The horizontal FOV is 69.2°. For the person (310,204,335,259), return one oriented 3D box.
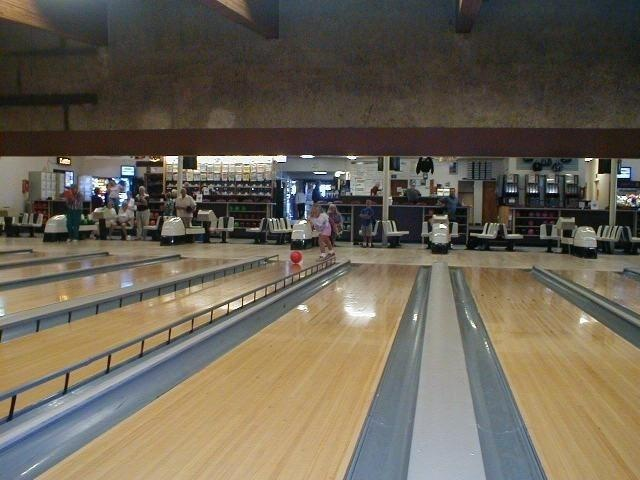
[{"bbox_3d":[0.041,-0.129,7.818,0.400,0.916,1.303,2,-4,0],"label":"person"}]

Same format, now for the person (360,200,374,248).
[{"bbox_3d":[1.275,-0.432,12.303,0.341,1.336,1.048,1,-4,7],"label":"person"}]

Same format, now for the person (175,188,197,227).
[{"bbox_3d":[-3.255,-0.772,11.112,0.452,0.997,1.004,3,-5,-18],"label":"person"}]

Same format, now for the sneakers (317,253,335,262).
[{"bbox_3d":[0.101,0.285,7.250,0.102,0.123,0.312,-3,-7,16],"label":"sneakers"}]

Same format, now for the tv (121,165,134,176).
[{"bbox_3d":[-7.317,-2.598,17.563,0.413,0.394,0.219,1,0,-8],"label":"tv"}]

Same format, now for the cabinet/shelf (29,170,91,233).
[{"bbox_3d":[-7.695,-1.090,13.467,0.712,1.993,2.073,-2,7,7],"label":"cabinet/shelf"}]
